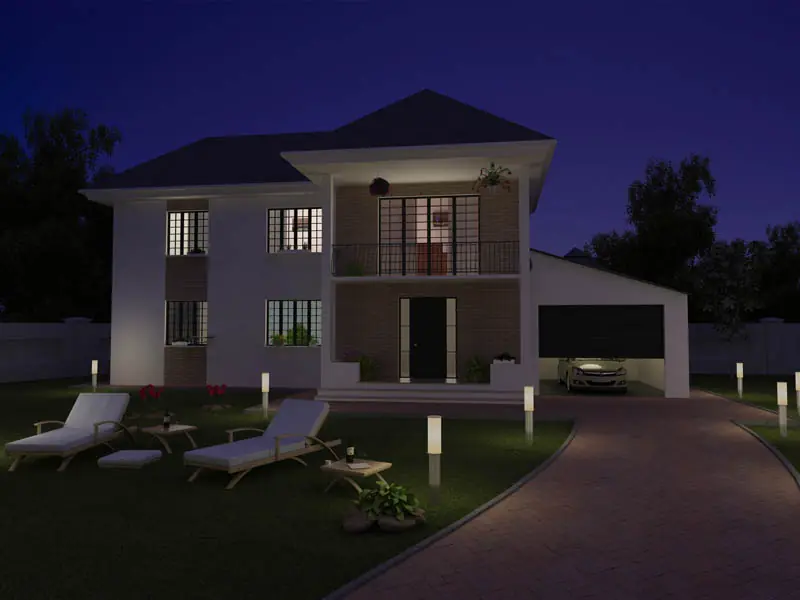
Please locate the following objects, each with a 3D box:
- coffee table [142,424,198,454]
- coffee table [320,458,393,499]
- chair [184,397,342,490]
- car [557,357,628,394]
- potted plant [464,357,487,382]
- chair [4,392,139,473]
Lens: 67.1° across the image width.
[{"bbox_3d":[-4.653,2.613,11.980,0.829,0.358,0.777,-1,-1,32],"label":"coffee table"},{"bbox_3d":[-0.714,2.611,9.155,0.686,0.295,0.637,-1,-1,20],"label":"coffee table"},{"bbox_3d":[-2.234,2.462,10.483,1.164,1.179,2.640,-2,-4,31],"label":"chair"},{"bbox_3d":[6.646,2.523,20.752,1.775,1.355,2.864,0,0,4],"label":"car"},{"bbox_3d":[2.324,2.185,18.592,0.706,0.793,0.687,4,-9,-9],"label":"potted plant"},{"bbox_3d":[-6.034,2.396,11.295,1.169,1.146,2.106,-2,-5,8],"label":"chair"}]
